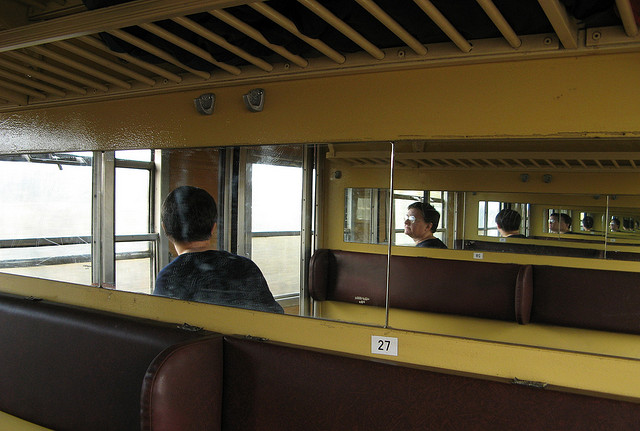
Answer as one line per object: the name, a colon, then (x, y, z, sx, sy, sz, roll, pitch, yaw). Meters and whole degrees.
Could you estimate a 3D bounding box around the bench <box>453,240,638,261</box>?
bench: (1.131, 0.175, 2.359, 0.939, 0.100, 0.112, 0, 1, -1)

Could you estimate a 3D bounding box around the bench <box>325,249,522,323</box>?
bench: (0.516, 0.355, 2.367, 1.007, 0.278, 0.178, 3, 6, 19)
